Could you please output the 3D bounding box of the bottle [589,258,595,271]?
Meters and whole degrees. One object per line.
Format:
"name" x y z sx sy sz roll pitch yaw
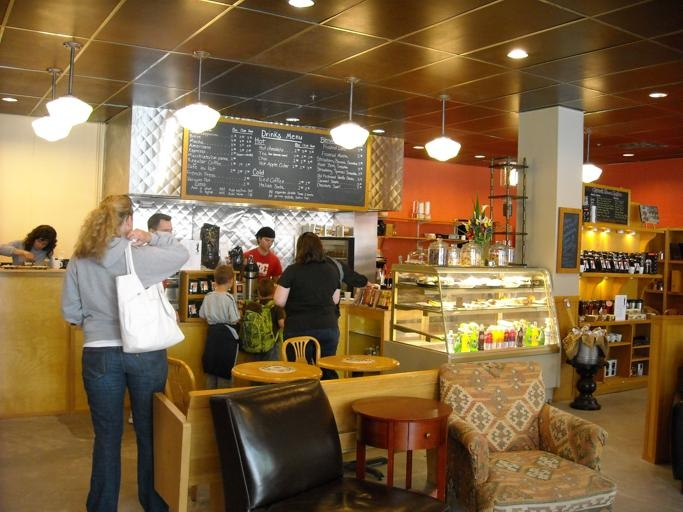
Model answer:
"bottle" 3.295 0.125 6.970 0.186 0.181 0.019 -1 2 -34

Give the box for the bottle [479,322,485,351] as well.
"bottle" 1.422 0.834 5.374 0.042 0.189 0.108 2 1 34

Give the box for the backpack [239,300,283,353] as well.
"backpack" -0.847 0.740 5.450 0.397 0.472 0.509 0 4 29

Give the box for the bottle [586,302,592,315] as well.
"bottle" 3.284 0.697 7.025 0.058 0.136 0.093 2 1 45

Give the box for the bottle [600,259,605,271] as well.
"bottle" 3.510 0.133 7.088 0.090 0.133 0.025 0 1 -40

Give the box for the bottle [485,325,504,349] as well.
"bottle" 1.566 0.845 5.462 0.293 0.252 0.157 0 0 -36

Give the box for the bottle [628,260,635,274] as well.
"bottle" 4.041 0.186 7.403 0.124 0.185 0.126 0 -3 0

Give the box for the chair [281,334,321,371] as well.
"chair" -0.357 0.853 4.668 0.291 0.409 0.314 2 -1 -14

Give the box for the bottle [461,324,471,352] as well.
"bottle" 1.228 0.812 5.235 0.035 0.198 0.135 2 1 39

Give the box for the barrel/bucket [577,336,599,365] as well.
"barrel/bucket" 2.760 1.093 6.066 0.294 0.286 0.276 1 0 0

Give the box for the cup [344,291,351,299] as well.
"cup" 0.083 0.507 6.722 0.093 0.087 0.087 0 -1 0

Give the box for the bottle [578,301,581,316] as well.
"bottle" 3.169 0.694 7.000 0.049 0.163 0.112 2 1 26

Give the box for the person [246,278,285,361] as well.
"person" -0.788 0.774 5.418 0.453 0.981 0.364 1 13 4

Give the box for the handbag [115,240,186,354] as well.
"handbag" -1.158 0.248 3.191 0.378 0.638 0.177 1 1 -24

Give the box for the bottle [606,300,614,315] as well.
"bottle" 3.658 0.706 7.210 0.095 0.166 0.340 2 1 27

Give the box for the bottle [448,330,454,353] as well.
"bottle" 1.047 0.825 5.076 0.043 0.148 0.106 2 1 24

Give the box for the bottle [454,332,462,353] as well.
"bottle" 1.138 0.847 5.157 0.026 0.136 0.115 2 1 38

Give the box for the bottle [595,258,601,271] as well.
"bottle" 3.427 0.119 7.049 0.106 0.155 0.029 1 1 -25

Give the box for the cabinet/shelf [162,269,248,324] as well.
"cabinet/shelf" -1.447 0.454 5.914 0.675 0.498 0.351 -2 -5 -25

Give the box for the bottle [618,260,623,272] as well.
"bottle" 3.855 0.142 7.287 0.121 0.143 0.035 0 1 -40

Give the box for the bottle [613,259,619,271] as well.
"bottle" 3.760 0.131 7.235 0.116 0.135 0.032 0 1 -38

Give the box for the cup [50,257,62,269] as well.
"cup" -3.295 0.092 6.100 0.126 0.118 0.178 0 -4 1

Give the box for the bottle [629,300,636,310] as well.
"bottle" 4.080 0.692 7.430 0.110 0.139 0.103 0 -4 0

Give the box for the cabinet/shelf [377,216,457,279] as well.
"cabinet/shelf" 1.376 -0.223 10.322 1.881 0.995 0.286 0 2 -33

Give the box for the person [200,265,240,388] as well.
"person" -1.191 0.711 5.127 0.366 1.226 0.564 1 1 -15

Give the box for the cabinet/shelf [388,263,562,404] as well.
"cabinet/shelf" 1.404 0.883 5.767 1.712 1.246 0.879 1 2 -26

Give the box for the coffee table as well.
"coffee table" 0.353 1.255 3.281 0.572 0.566 0.572 -1 -8 29

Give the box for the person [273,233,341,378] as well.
"person" -0.314 0.600 4.990 0.642 1.541 0.521 -3 9 -16

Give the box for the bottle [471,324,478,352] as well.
"bottle" 1.330 0.822 5.313 0.037 0.201 0.111 2 1 39

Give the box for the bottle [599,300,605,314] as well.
"bottle" 3.515 0.693 7.132 0.069 0.154 0.279 2 1 26

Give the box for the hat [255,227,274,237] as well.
"hat" -0.970 -0.297 6.606 0.183 0.102 0.126 3 -1 15

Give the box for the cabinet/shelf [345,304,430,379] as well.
"cabinet/shelf" 0.493 0.860 5.357 0.299 0.766 0.853 2 -3 -25
